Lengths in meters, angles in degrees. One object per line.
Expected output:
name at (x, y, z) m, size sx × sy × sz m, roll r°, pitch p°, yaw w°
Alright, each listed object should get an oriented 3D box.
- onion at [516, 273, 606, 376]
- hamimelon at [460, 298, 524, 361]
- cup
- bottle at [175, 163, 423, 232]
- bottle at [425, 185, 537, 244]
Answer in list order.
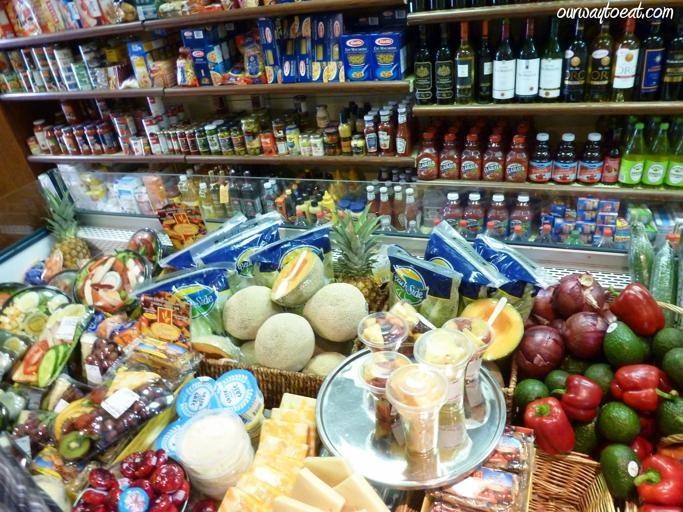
onion at (0.877, 0.289, 1.788) m, size 0.236 × 0.269 × 0.274 m, roll -24°, pitch 28°, yaw 4°
hamimelon at (0.585, 0.253, 1.707) m, size 0.250 × 0.095 × 0.253 m, roll -30°, pitch 58°, yaw 15°
cup at (0.269, 0.452, 1.529) m, size 0.308 × 0.410 × 0.229 m, roll -7°, pitch 31°, yaw -17°
bottle at (-0.448, -0.403, 3.182) m, size 1.453 × 0.392 × 0.303 m, roll 6°, pitch 30°, yaw 19°
bottle at (0.899, -0.261, 2.810) m, size 0.632 × 0.365 × 0.410 m, roll 5°, pitch 29°, yaw 25°
